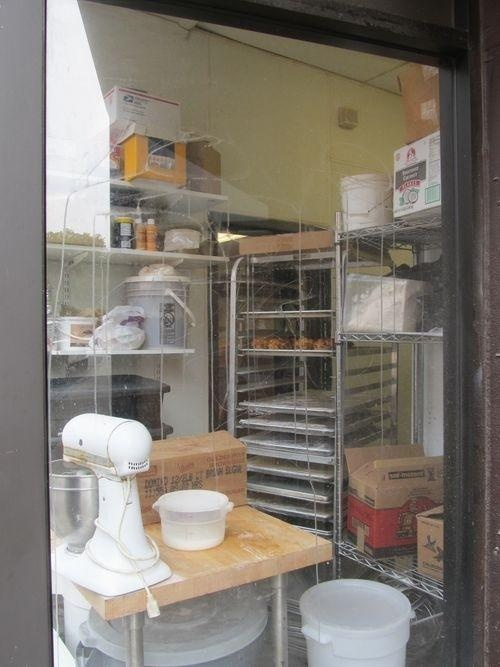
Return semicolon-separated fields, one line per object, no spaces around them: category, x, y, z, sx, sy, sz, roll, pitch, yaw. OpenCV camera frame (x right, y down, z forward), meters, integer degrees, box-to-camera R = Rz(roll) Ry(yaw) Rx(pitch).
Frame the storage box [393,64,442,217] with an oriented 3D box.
storage box;0.356;-0.421;1.467;0.061;0.318;0.123;-1;0;-37

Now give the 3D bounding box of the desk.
desk;-0.104;0.401;1.395;0.386;0.338;0.367;-2;3;-24

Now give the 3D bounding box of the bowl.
bowl;-0.113;0.373;1.329;0.171;0.075;0.139;-1;4;-5

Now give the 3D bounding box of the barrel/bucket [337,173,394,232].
barrel/bucket;0.256;-0.283;1.513;0.138;0.114;0.136;-3;1;0

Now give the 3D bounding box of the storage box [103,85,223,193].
storage box;-0.182;-0.370;1.314;0.209;0.135;0.149;6;-7;-31

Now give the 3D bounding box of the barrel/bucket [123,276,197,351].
barrel/bucket;-0.174;-0.036;1.308;0.144;0.131;0.146;0;-1;0

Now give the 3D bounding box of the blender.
blender;-0.237;0.322;1.181;0.195;0.363;0.100;-1;0;-36
